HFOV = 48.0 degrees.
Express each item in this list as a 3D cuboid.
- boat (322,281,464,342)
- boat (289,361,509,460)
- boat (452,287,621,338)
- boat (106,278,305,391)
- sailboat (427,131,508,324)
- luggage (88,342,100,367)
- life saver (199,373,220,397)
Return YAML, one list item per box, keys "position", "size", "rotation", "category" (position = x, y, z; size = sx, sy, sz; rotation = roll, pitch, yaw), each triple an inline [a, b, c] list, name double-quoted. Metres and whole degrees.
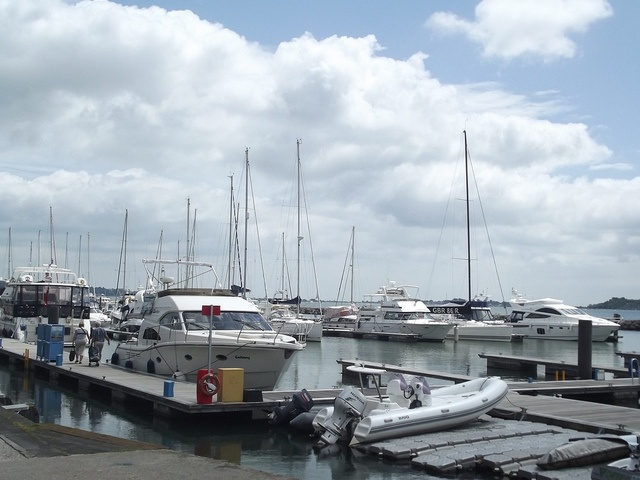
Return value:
- position: [5.439, 5.396, 55.921]
  size: [3.665, 4.181, 12.169]
  rotation: [-4, 1, -39]
  category: "boat"
- position: [2.441, 4.536, 18.490]
  size: [4.651, 1.621, 2.224]
  rotation: [-1, -4, -34]
  category: "boat"
- position: [18.668, 6.762, 58.479]
  size: [11.503, 3.949, 5.193]
  rotation: [-5, -18, 42]
  category: "boat"
- position: [-4.288, 3.473, 24.784]
  size: [3.475, 3.880, 10.601]
  rotation: [1, -3, -40]
  category: "boat"
- position: [10.475, 3.948, 51.817]
  size: [3.833, 16.557, 3.743]
  rotation: [0, -5, -8]
  category: "sailboat"
- position: [-7.923, 4.014, 25.297]
  size: [0.363, 0.809, 0.660]
  rotation: [3, -7, -17]
  category: "luggage"
- position: [-2.880, 3.760, 18.642]
  size: [0.217, 0.618, 0.593]
  rotation: [-28, -20, 36]
  category: "life saver"
